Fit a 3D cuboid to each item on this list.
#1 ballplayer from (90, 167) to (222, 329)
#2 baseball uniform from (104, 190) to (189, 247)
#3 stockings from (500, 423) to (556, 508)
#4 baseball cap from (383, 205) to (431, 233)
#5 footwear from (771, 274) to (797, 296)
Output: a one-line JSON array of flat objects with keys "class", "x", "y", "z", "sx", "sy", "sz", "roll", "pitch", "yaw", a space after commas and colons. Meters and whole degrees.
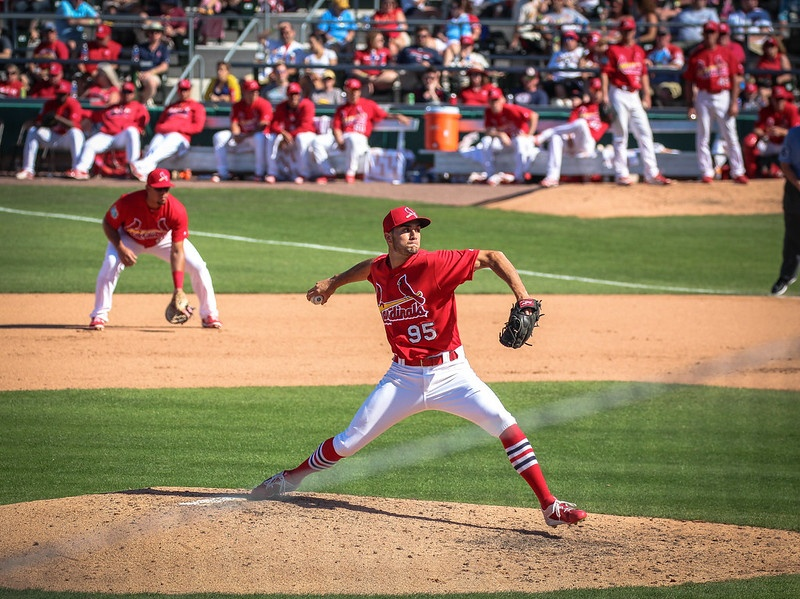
[{"class": "ballplayer", "x": -3.249, "y": -0.690, "z": 22.650, "sx": 1.747, "sy": 2.273, "sz": 1.515, "roll": 3, "pitch": 25, "yaw": -5}, {"class": "baseball uniform", "x": -3.335, "y": -0.918, "z": 22.493, "sx": 1.100, "sy": 0.861, "sz": 0.531, "roll": 6, "pitch": -3, "yaw": -2}, {"class": "stockings", "x": 1.450, "y": 1.987, "z": 19.731, "sx": 0.269, "sy": 0.981, "sz": 0.236, "roll": -16, "pitch": -17, "yaw": -45}, {"class": "baseball cap", "x": -0.002, "y": -0.883, "z": 19.009, "sx": 0.438, "sy": 0.235, "sz": 0.285, "roll": -3, "pitch": 8, "yaw": 33}, {"class": "footwear", "x": 5.284, "y": -0.169, "z": 23.436, "sx": 0.125, "sy": 0.291, "sz": 0.110, "roll": 41, "pitch": 10, "yaw": -38}]
